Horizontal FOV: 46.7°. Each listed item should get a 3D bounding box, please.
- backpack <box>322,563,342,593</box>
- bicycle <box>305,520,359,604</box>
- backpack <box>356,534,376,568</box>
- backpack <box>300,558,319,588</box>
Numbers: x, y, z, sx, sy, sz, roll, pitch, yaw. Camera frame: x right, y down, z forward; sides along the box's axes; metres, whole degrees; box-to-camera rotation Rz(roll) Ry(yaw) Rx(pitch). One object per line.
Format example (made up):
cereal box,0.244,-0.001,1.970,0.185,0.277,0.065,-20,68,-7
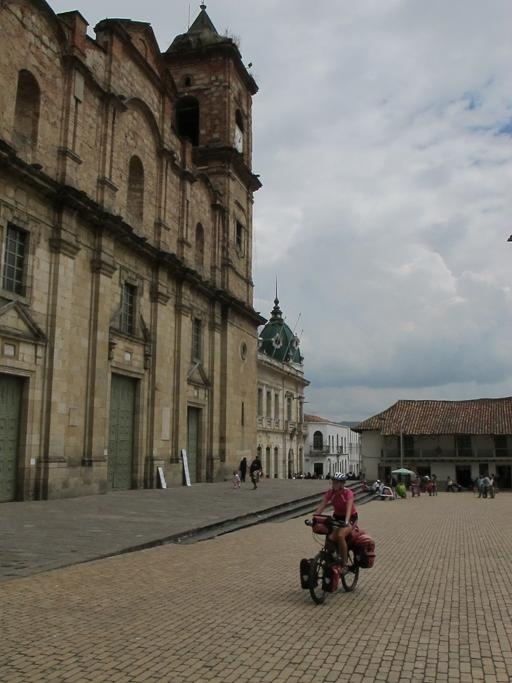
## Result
backpack,0.788,2.452,6.087,0.199,0.262,0.085,6,-11,-30
bicycle,0.875,2.500,6.332,0.469,0.695,1.096,-12,-30,24
backpack,1.271,2.440,6.848,0.148,0.398,0.326,-3,-11,18
backpack,0.538,2.389,6.037,0.181,0.339,0.323,-1,-10,7
